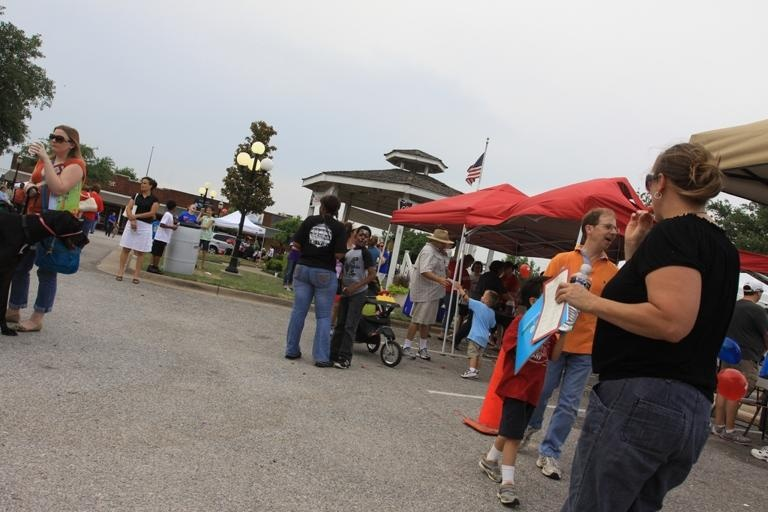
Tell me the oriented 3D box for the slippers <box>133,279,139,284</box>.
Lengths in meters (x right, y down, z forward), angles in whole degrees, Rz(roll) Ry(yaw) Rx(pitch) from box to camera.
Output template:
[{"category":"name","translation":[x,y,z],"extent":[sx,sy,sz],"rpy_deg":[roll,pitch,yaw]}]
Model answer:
[{"category":"slippers","translation":[-5.695,0.552,10.401],"extent":[0.098,0.068,0.275],"rpy_deg":[0,-2,-34]}]

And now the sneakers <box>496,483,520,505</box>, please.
[{"category":"sneakers","translation":[1.033,1.977,3.789],"extent":[0.183,0.158,0.141],"rpy_deg":[9,-2,24]}]

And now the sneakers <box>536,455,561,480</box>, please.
[{"category":"sneakers","translation":[1.649,2.089,4.515],"extent":[0.122,0.136,0.306],"rpy_deg":[5,-8,-7]}]

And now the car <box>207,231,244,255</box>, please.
[{"category":"car","translation":[-10.962,-0.882,31.132],"extent":[3.026,1.544,1.830],"rpy_deg":[-7,8,-22]}]

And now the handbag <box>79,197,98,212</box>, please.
[{"category":"handbag","translation":[-3.767,-0.665,5.796],"extent":[0.151,0.214,0.264],"rpy_deg":[11,-2,-13]}]

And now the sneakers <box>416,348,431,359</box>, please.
[{"category":"sneakers","translation":[0.808,2.046,9.622],"extent":[0.151,0.182,0.408],"rpy_deg":[4,-4,-28]}]

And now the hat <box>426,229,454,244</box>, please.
[{"category":"hat","translation":[1.272,-0.459,9.795],"extent":[0.431,0.184,0.487],"rpy_deg":[12,-8,38]}]

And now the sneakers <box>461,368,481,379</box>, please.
[{"category":"sneakers","translation":[1.662,2.168,8.469],"extent":[0.436,0.200,0.149],"rpy_deg":[0,-4,14]}]

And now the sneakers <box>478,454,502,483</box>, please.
[{"category":"sneakers","translation":[0.985,1.951,4.200],"extent":[0.096,0.113,0.262],"rpy_deg":[16,7,-36]}]

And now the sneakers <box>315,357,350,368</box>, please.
[{"category":"sneakers","translation":[-0.798,1.684,7.149],"extent":[0.536,0.230,0.191],"rpy_deg":[15,-16,-38]}]

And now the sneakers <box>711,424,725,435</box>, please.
[{"category":"sneakers","translation":[5.679,2.917,7.678],"extent":[0.277,0.118,0.108],"rpy_deg":[5,-3,-28]}]

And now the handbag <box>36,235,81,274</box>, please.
[{"category":"handbag","translation":[-3.883,-0.012,5.386],"extent":[0.423,0.486,0.237],"rpy_deg":[12,-2,-31]}]

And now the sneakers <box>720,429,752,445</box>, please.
[{"category":"sneakers","translation":[5.833,2.960,7.457],"extent":[0.588,0.238,0.215],"rpy_deg":[8,-4,-8]}]
